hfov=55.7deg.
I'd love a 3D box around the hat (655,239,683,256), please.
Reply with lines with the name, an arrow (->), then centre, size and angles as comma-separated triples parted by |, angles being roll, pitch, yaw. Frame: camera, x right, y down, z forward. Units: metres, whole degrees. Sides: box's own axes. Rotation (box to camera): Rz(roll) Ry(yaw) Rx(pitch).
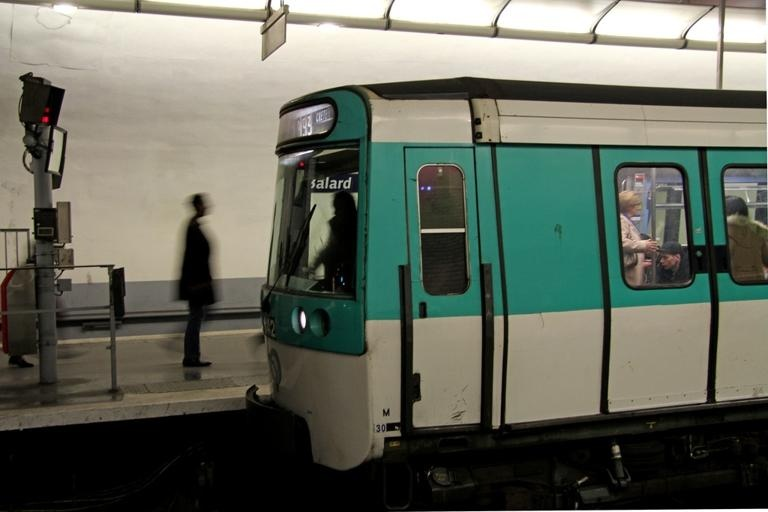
hat -> 3.344, -0.099, 8.470 | 0.221, 0.117, 0.159 | 3, 9, 1

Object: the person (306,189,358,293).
person -> -0.487, -0.154, 7.969 | 0.476, 0.751, 0.166 | 7, -8, 32

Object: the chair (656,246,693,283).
chair -> 3.371, 0.078, 8.463 | 0.443, 0.516, 0.385 | 3, 2, 17

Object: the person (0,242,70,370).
person -> -5.792, 0.896, 11.846 | 0.479, 1.810, 0.800 | 14, -7, -26
